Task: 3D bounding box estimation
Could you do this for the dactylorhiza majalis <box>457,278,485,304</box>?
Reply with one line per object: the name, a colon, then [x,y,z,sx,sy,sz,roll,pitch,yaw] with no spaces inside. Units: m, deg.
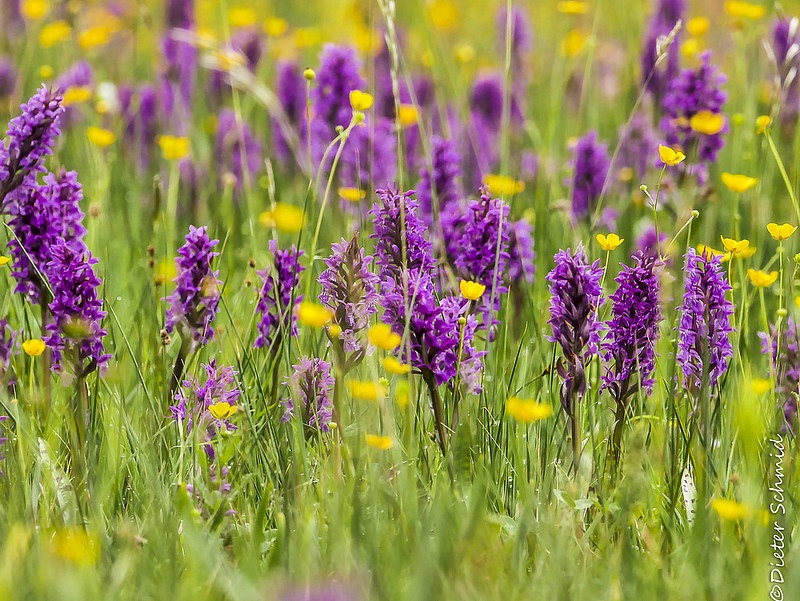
dactylorhiza majalis: [0.189,-0.029,2.425,0.045,0.059,0.057,13,2,15]
